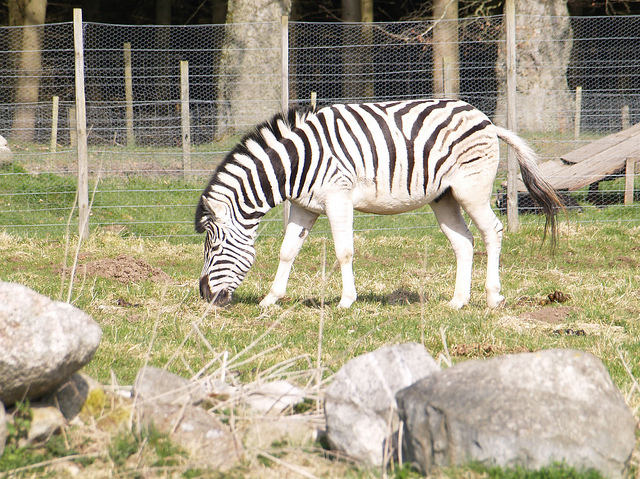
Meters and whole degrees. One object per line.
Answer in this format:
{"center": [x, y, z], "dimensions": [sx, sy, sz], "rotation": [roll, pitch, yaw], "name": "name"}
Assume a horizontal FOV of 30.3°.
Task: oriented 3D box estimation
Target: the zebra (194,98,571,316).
{"center": [0.877, -0.442, 16.580], "dimensions": [5.181, 3.297, 1.412], "rotation": [-2, 9, -11], "name": "zebra"}
